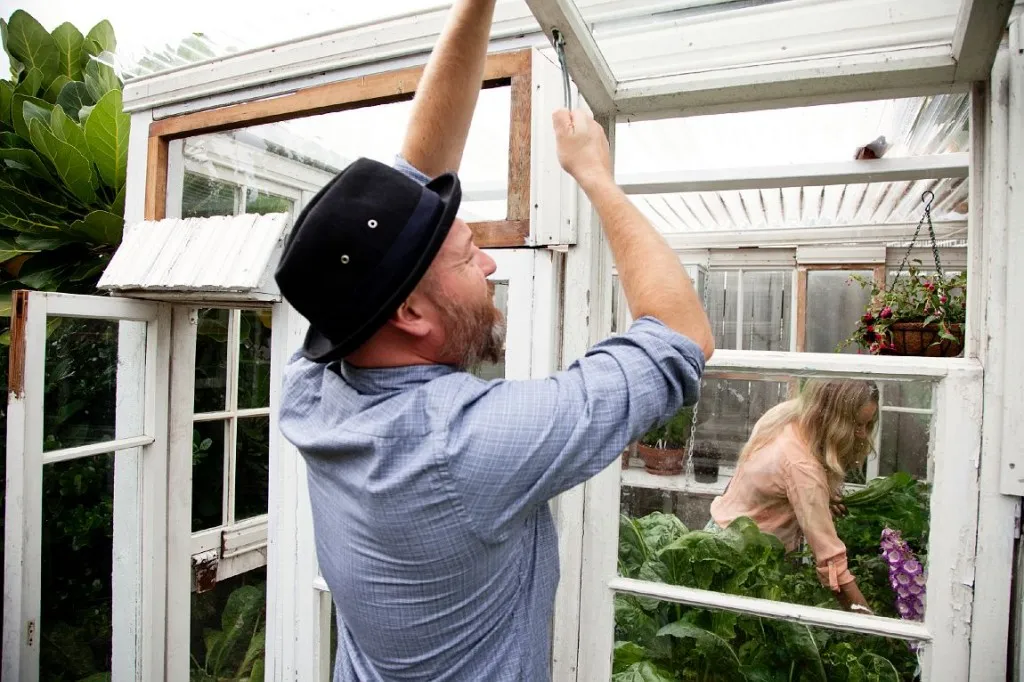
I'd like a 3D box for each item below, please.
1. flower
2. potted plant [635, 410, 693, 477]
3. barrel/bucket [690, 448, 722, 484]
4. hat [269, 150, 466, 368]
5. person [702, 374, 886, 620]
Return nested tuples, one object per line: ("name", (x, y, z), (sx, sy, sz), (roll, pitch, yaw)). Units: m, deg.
("flower", (1.795, -0.178, 4.027), (0.453, 0.340, 0.700), (0, -6, 0))
("potted plant", (0.649, 0.413, 3.787), (0.275, 0.331, 0.276), (2, -4, -34))
("barrel/bucket", (0.820, 0.529, 3.757), (0.122, 0.141, 0.124), (1, -1, 0))
("hat", (-0.495, -0.307, 2.968), (0.261, 0.710, 0.543), (33, -16, -22))
("person", (1.035, 0.485, 3.845), (0.718, 1.294, 0.777), (0, 15, 0))
